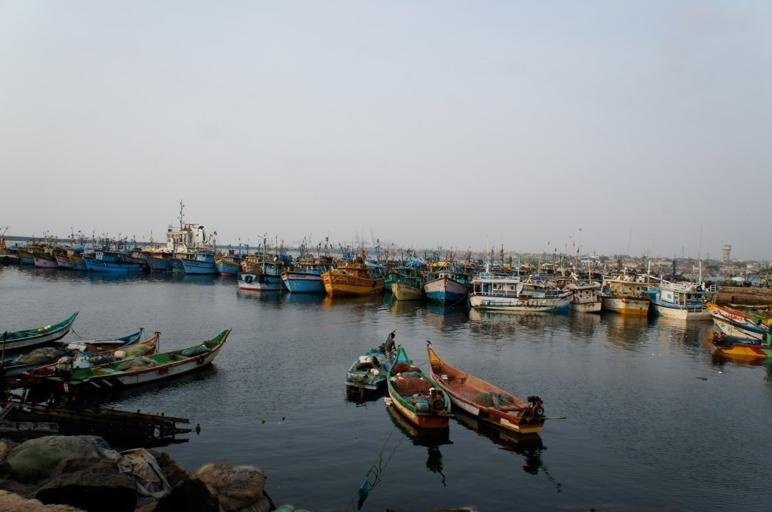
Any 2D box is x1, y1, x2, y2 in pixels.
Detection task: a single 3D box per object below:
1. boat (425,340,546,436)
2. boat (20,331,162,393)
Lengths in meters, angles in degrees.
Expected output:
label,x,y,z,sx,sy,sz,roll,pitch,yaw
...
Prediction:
label,x,y,z,sx,sy,sz,roll,pitch,yaw
boat,4.813,7.454,31.557,2.364,2.002,7.465,-11,25,-36
boat,-16.873,5.829,33.622,2.197,1.725,6.656,8,13,26
